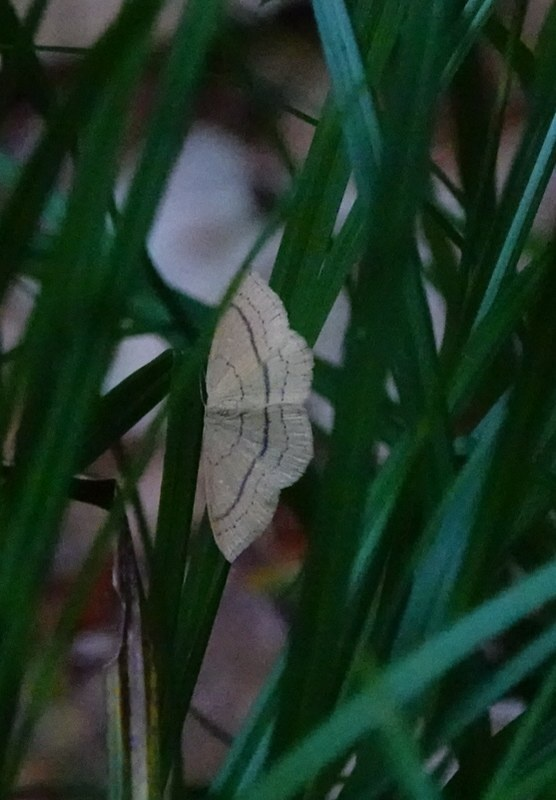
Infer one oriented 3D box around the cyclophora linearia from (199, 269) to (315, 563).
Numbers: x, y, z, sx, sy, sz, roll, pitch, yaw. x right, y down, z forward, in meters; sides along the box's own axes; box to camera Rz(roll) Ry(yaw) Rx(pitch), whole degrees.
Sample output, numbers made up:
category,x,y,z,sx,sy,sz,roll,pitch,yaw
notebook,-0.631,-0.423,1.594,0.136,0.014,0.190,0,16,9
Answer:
category,x,y,z,sx,sy,sz,roll,pitch,yaw
cyclophora linearia,-0.013,0.010,0.580,0.070,0.162,0.052,8,9,18
